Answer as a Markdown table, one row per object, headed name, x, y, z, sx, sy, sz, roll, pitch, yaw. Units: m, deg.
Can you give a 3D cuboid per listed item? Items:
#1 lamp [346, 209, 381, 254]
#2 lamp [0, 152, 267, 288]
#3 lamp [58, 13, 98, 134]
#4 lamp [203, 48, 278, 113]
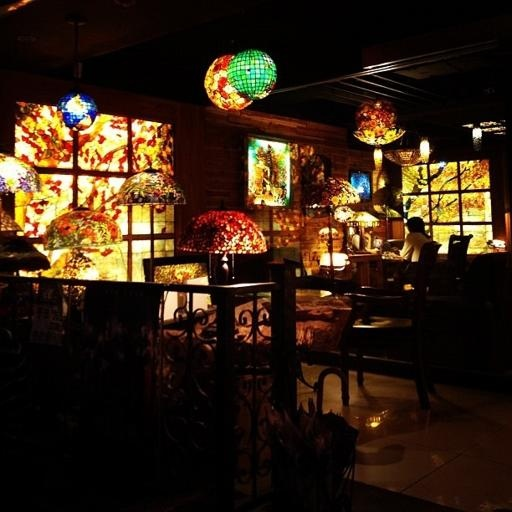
| name | x | y | z | sx | sy | sz | roll | pitch | yaw |
| --- | --- | --- | --- | --- | --- | --- | --- | --- | --- |
| lamp | 1.578 | -0.400 | 7.082 | 0.550 | 0.631 | 0.550 | -4 | -2 | 25 |
| lamp | -1.118 | -0.300 | 3.416 | 1.289 | 0.591 | 1.281 | 0 | 0 | 9 |
| lamp | -1.466 | -1.397 | 3.889 | 0.283 | 0.834 | 0.858 | 1 | 1 | -22 |
| lamp | -0.100 | -1.199 | 3.343 | 0.318 | 0.297 | 0.579 | -5 | 8 | -31 |
